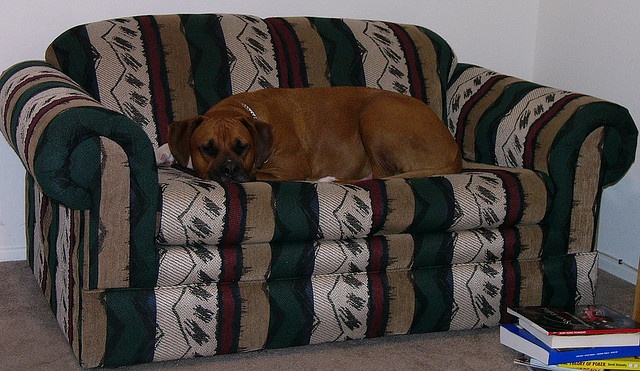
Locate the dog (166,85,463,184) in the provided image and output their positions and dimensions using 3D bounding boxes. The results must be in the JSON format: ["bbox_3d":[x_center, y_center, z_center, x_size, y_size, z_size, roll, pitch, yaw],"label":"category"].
[{"bbox_3d":[-0.042,-0.334,4.572,1.814,0.581,0.841,2,-13,-8],"label":"dog"}]
